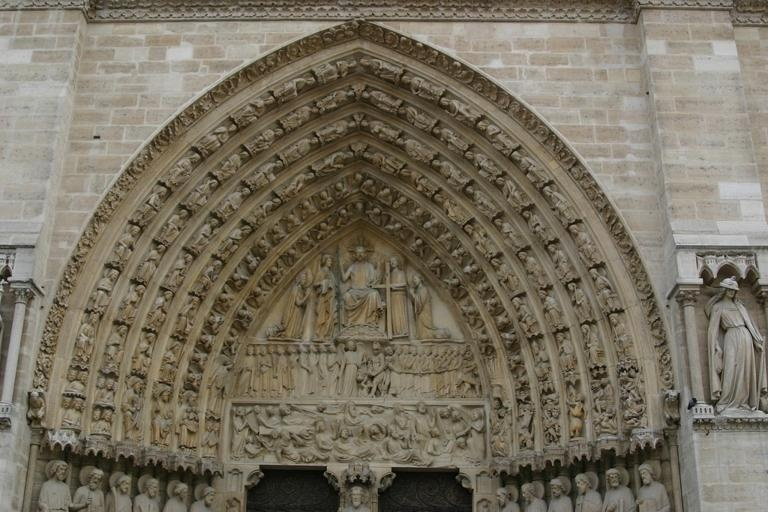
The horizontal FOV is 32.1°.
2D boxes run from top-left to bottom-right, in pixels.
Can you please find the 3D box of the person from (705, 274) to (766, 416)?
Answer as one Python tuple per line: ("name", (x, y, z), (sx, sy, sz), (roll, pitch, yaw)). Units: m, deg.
("person", (4.728, 1.194, 18.054), (0.791, 1.787, 0.436), (-4, -25, 4))
